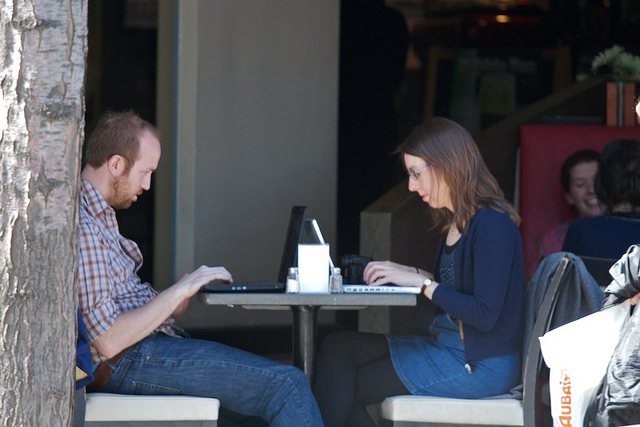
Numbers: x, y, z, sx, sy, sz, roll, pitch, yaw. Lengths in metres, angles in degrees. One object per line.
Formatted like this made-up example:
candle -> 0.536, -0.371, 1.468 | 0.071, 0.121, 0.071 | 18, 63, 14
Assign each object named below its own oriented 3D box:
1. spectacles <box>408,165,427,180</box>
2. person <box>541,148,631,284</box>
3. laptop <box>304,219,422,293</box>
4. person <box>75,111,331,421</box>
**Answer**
spectacles -> 0.523, -0.212, 6.260 | 0.069, 0.022, 0.067 | -21, -2, -15
person -> 1.815, -0.003, 7.513 | 0.478, 0.770, 1.396 | 1, 6, -4
laptop -> 0.227, 0.246, 6.208 | 0.465, 0.295, 0.461 | 0, -1, -1
person -> -0.738, 0.295, 6.056 | 1.067, 1.585, 0.704 | 0, 7, -13
